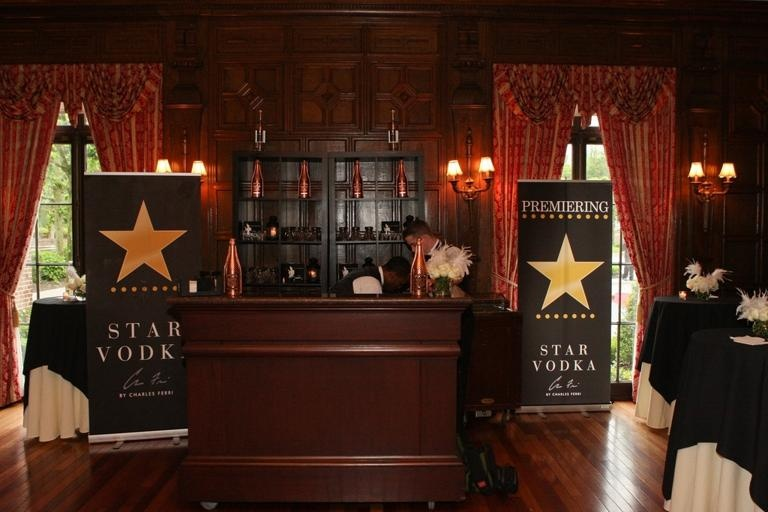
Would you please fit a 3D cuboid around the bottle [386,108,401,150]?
[{"bbox_3d":[0.117,-1.483,7.409,0.135,0.502,0.213,-1,1,6],"label":"bottle"}]

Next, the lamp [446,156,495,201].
[{"bbox_3d":[0.994,-0.914,7.430,0.479,0.443,0.240,-1,-6,-6],"label":"lamp"}]

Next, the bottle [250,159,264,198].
[{"bbox_3d":[-1.465,-0.881,7.291,0.143,0.473,0.378,-1,1,-12],"label":"bottle"}]

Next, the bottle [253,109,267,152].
[{"bbox_3d":[-1.437,-1.488,7.360,0.143,0.514,0.263,-1,1,-12],"label":"bottle"}]

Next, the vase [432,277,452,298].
[{"bbox_3d":[0.513,0.276,5.615,0.157,0.184,0.161,3,-7,0],"label":"vase"}]

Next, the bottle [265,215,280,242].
[{"bbox_3d":[-1.279,-0.318,7.271,0.162,0.290,0.292,-1,1,-11],"label":"bottle"}]

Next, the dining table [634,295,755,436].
[{"bbox_3d":[3.259,1.168,7.006,1.192,1.314,1.294,1,-6,8],"label":"dining table"}]

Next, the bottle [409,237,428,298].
[{"bbox_3d":[0.309,0.098,5.666,0.155,0.513,0.342,-1,1,3],"label":"bottle"}]

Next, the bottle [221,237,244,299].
[{"bbox_3d":[-1.345,0.099,5.618,0.153,0.514,0.233,-1,1,-16],"label":"bottle"}]

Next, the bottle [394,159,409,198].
[{"bbox_3d":[0.207,-0.894,7.364,0.159,0.451,0.354,-1,1,2],"label":"bottle"}]

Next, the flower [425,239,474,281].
[{"bbox_3d":[0.577,0.061,5.787,0.364,0.313,0.368,-3,-3,-1],"label":"flower"}]

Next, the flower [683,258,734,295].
[{"bbox_3d":[3.564,0.277,7.109,0.505,0.353,0.513,3,-4,34],"label":"flower"}]

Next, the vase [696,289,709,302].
[{"bbox_3d":[3.463,0.438,6.886,0.097,0.080,0.093,5,-5,3],"label":"vase"}]

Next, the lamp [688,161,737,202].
[{"bbox_3d":[3.885,-0.898,7.553,0.456,0.409,0.226,0,-6,-13],"label":"lamp"}]

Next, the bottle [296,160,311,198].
[{"bbox_3d":[-0.920,-0.874,7.328,0.142,0.452,0.373,-1,1,-7],"label":"bottle"}]
